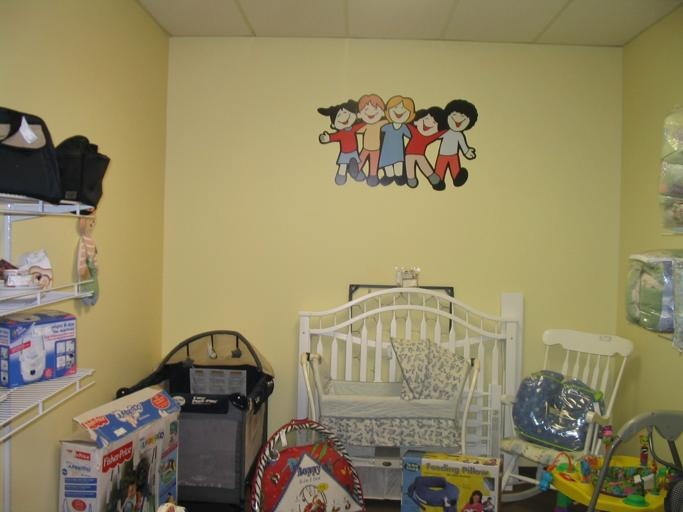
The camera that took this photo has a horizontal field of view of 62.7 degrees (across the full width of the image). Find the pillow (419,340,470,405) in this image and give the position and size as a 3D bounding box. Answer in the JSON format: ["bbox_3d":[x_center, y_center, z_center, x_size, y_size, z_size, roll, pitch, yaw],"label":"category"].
[{"bbox_3d":[0.624,0.685,3.368,0.271,0.304,0.196,2,1,15],"label":"pillow"}]

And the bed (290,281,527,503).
[{"bbox_3d":[0.445,0.859,3.471,1.106,1.122,0.473,-1,-8,5],"label":"bed"}]

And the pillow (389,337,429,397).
[{"bbox_3d":[0.423,0.657,3.356,0.193,0.341,0.077,7,-19,-26],"label":"pillow"}]
